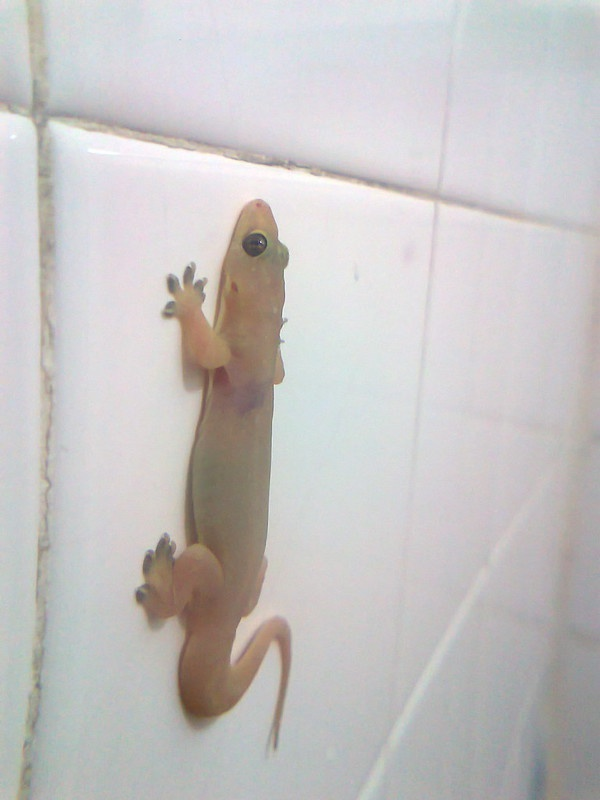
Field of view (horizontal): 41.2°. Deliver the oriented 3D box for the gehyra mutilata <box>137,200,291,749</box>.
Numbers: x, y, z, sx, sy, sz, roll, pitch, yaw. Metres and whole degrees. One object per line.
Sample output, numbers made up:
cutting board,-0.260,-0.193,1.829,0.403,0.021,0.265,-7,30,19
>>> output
gehyra mutilata,-0.097,0.071,0.899,0.071,0.654,0.164,2,0,23
